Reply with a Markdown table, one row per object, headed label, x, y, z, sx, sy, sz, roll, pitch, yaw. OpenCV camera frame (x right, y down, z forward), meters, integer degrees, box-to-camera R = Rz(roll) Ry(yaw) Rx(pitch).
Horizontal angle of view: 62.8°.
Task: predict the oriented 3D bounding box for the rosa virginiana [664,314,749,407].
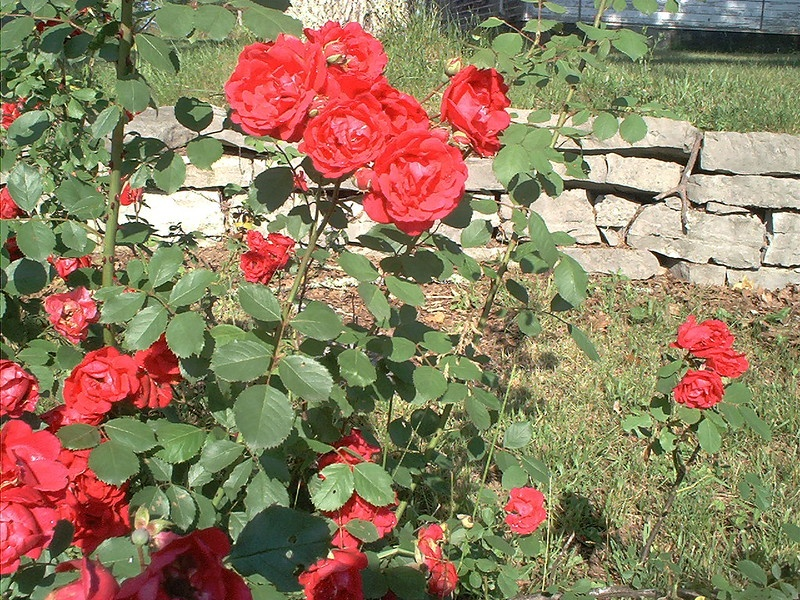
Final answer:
| label | x | y | z | sx | sy | sz | roll | pitch | yaw |
| --- | --- | --- | --- | --- | --- | --- | --- | --- | --- |
| rosa virginiana | 0.968 | 0.198 | 2.170 | 0.286 | 0.277 | 0.121 | -28 | -8 | -2 |

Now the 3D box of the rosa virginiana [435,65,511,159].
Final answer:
| label | x | y | z | sx | sy | sz | roll | pitch | yaw |
| --- | --- | --- | --- | --- | --- | --- | --- | --- | --- |
| rosa virginiana | 0.162 | -0.423 | 1.559 | 0.200 | 0.192 | 0.098 | -1 | 3 | -28 |

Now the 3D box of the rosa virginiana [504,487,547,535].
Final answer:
| label | x | y | z | sx | sy | sz | roll | pitch | yaw |
| --- | --- | --- | --- | --- | --- | --- | --- | --- | --- |
| rosa virginiana | 0.383 | 0.639 | 1.997 | 0.111 | 0.140 | 0.115 | 14 | 28 | 20 |

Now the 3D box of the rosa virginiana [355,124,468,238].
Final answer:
| label | x | y | z | sx | sy | sz | roll | pitch | yaw |
| --- | --- | --- | --- | --- | --- | --- | --- | --- | --- |
| rosa virginiana | 0.023 | -0.265 | 1.432 | 0.259 | 0.129 | 0.285 | 21 | -19 | -28 |
